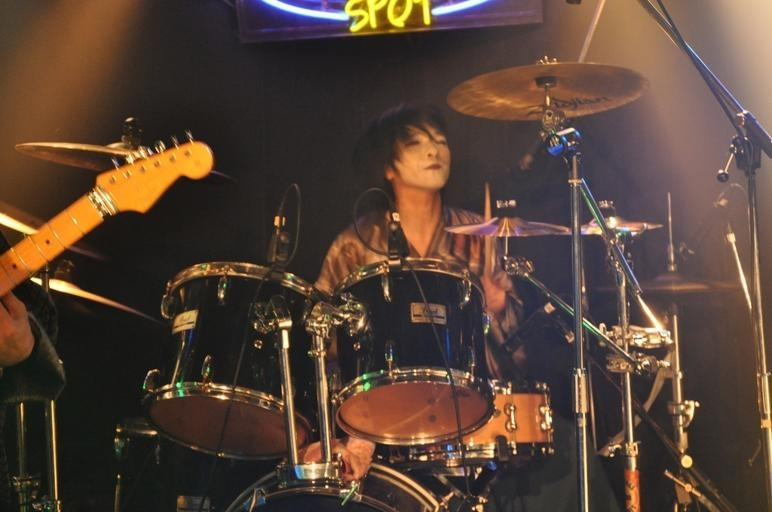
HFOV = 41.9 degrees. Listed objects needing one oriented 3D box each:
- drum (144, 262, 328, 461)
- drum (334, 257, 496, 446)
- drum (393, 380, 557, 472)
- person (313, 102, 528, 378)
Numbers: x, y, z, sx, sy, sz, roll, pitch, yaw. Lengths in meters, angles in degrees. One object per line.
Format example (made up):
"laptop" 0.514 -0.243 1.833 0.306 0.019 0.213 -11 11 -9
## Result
"drum" -0.772 0.709 5.733 0.983 1.031 0.932 -23 49 31
"drum" 0.161 0.538 5.698 0.885 0.961 0.735 -4 52 2
"drum" 0.581 1.038 5.944 0.695 0.298 0.571 2 -16 -16
"person" 0.223 0.007 6.454 1.495 1.904 1.163 2 -9 -33
